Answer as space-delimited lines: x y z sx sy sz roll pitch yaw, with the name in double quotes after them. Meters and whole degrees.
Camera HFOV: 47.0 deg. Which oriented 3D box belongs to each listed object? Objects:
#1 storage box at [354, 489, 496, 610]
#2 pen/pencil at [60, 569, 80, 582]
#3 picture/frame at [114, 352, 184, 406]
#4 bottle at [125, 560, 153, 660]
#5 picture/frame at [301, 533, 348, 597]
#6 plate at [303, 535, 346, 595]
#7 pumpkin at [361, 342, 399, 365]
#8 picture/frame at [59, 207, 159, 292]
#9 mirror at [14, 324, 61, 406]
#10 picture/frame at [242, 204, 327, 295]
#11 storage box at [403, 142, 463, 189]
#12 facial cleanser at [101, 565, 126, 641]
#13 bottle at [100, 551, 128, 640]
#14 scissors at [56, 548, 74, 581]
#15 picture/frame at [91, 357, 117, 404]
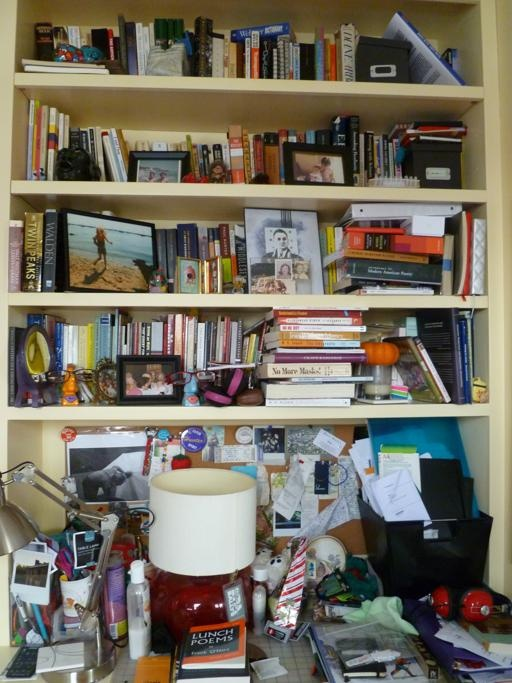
0.463 0.548 1.583 0.331 0.211 0.187 2 9 -7 "storage box"
-0.468 0.586 1.484 0.029 0.020 0.028 3 -5 -1 "pen/pencil"
-0.279 0.081 1.537 0.156 0.131 0.073 -1 10 -11 "picture/frame"
-0.278 0.644 1.404 0.063 0.182 0.104 0 9 -10 "bottle"
0.214 0.664 1.760 0.104 0.146 0.069 2 10 -9 "picture/frame"
0.212 0.658 1.760 0.103 0.145 0.068 2 10 -9 "plate"
0.346 0.031 1.610 0.077 0.068 0.073 1 9 -3 "pumpkin"
-0.384 -0.241 1.573 0.271 0.221 0.034 -9 6 -36 "picture/frame"
-0.564 0.057 1.502 0.085 0.235 0.192 -2 -5 2 "mirror"
0.072 -0.257 1.651 0.257 0.311 0.031 2 -16 -22 "picture/frame"
0.506 -0.494 1.709 0.146 0.126 0.142 0 3 1 "storage box"
-0.359 0.655 1.489 0.070 0.178 0.068 -5 -15 -5 "facial cleanser"
-0.345 0.645 1.477 0.057 0.165 0.081 1 8 -8 "bottle"
-0.483 0.558 1.482 0.043 0.071 0.022 -6 -14 -38 "scissors"
-0.400 0.104 1.561 0.061 0.119 0.079 -7 5 -16 "picture/frame"
